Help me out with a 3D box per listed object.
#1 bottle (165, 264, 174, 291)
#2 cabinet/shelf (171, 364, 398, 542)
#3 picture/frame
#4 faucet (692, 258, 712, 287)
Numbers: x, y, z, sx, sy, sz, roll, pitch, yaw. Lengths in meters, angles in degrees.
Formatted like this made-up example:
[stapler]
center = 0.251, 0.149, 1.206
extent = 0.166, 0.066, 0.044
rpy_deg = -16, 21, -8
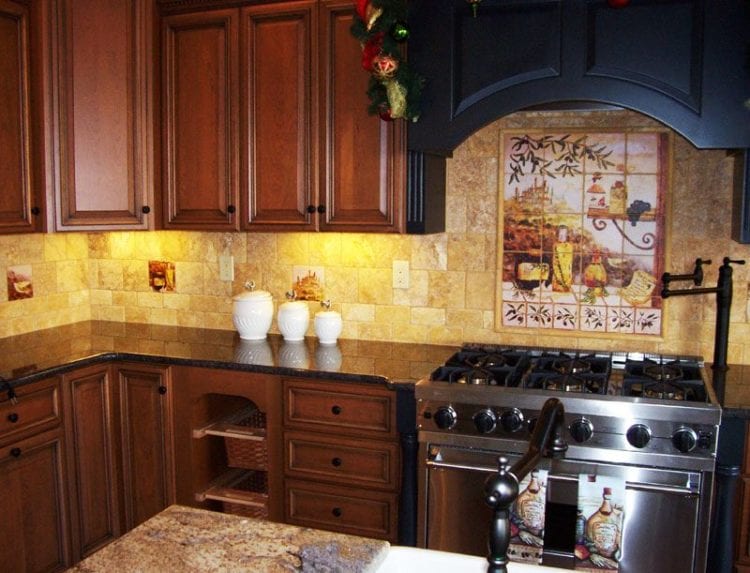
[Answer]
[bottle]
center = -1.145, -0.057, 3.601
extent = 0.062, 0.154, 0.003
rpy_deg = 4, 5, 16
[cabinet/shelf]
center = -0.350, 0.670, 2.653
extent = 0.713, 0.674, 0.279
rpy_deg = 2, 6, 19
[picture/frame]
center = 0.985, -0.266, 2.952
extent = 0.984, 1.251, 0.045
rpy_deg = 2, 8, 19
[faucet]
center = 1.419, -0.063, 2.782
extent = 0.069, 0.127, 0.160
rpy_deg = 5, 6, 29
